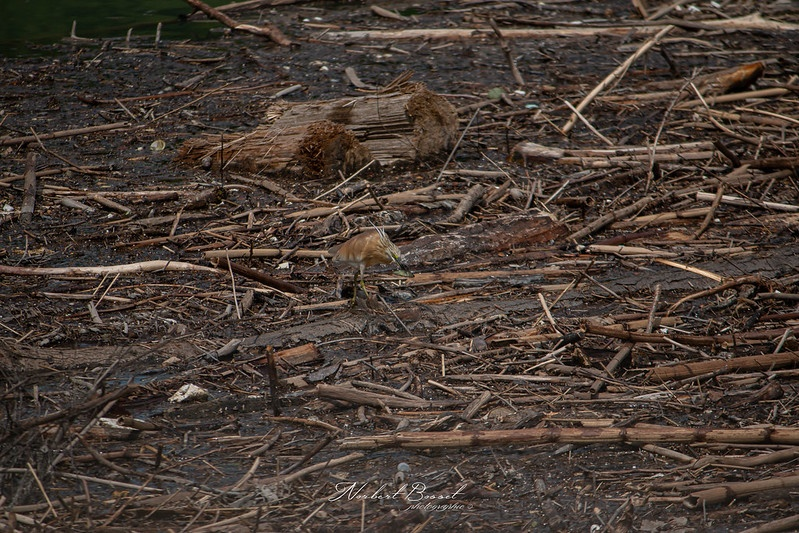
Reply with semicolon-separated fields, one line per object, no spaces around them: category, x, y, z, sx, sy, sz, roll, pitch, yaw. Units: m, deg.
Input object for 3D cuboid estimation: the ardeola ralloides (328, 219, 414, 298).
ardeola ralloides;-0.359;-0.051;10.164;0.876;0.947;0.874;-6;44;-3
